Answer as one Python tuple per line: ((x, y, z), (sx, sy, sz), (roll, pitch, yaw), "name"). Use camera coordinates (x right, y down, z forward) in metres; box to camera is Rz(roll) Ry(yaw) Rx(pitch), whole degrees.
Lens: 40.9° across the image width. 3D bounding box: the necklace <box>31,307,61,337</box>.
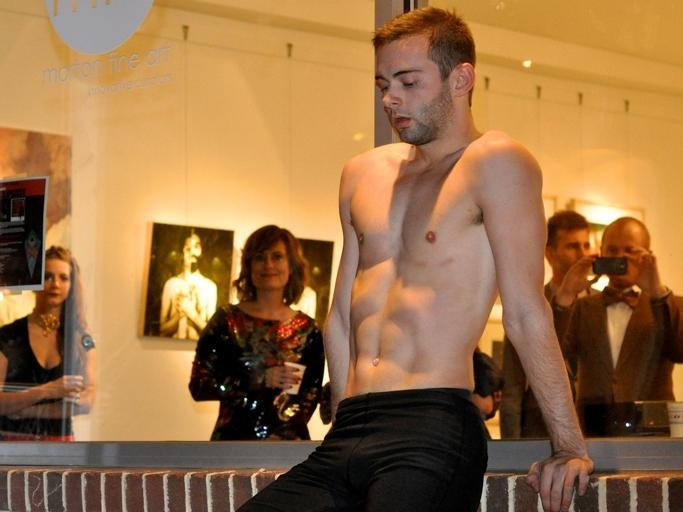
((-1.081, 0.240, 3.326), (0.071, 0.105, 0.040), (-4, 16, 21), "necklace")
